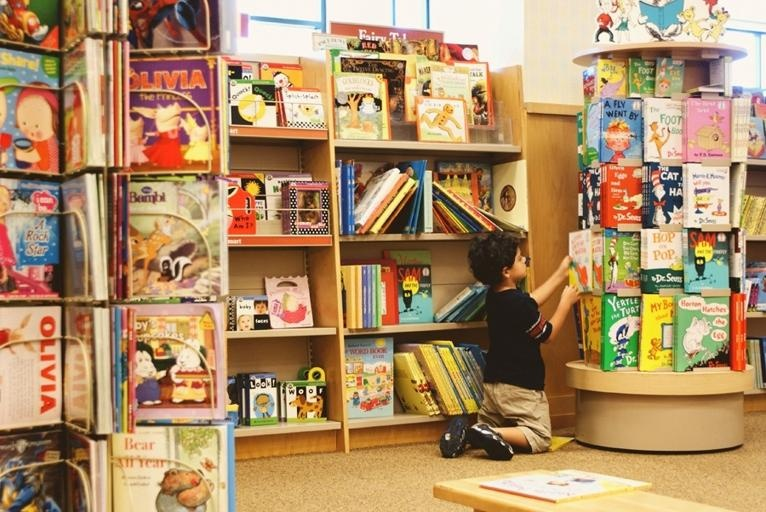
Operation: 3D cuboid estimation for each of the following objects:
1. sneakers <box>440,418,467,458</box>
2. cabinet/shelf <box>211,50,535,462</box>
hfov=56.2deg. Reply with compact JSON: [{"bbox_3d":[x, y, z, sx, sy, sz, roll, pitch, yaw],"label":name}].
[{"bbox_3d":[0.390,1.039,4.096,0.131,0.211,0.086,11,-5,45],"label":"sneakers"},{"bbox_3d":[-0.100,0.040,4.259,2.605,2.287,0.747,1,-2,-25],"label":"cabinet/shelf"}]
